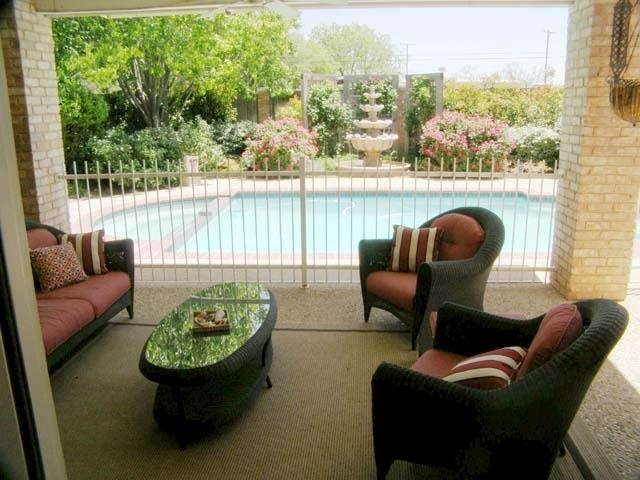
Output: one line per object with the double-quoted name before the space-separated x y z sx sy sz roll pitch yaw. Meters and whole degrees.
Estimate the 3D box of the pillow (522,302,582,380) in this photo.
"pillow" 1.032 0.427 2.244 0.119 0.294 0.302 17 -22 15

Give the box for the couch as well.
"couch" -1.638 0.415 3.476 0.501 0.535 0.999 6 17 1

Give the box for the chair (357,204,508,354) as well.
"chair" 0.888 0.261 4.094 1.072 0.956 1.060 -14 18 -41

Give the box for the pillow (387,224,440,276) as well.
"pillow" 0.761 0.094 4.054 0.374 0.362 0.141 4 -21 30

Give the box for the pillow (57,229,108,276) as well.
"pillow" -1.938 0.119 4.109 0.304 0.335 0.133 -13 -19 -15

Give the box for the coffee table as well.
"coffee table" -0.655 0.720 3.037 0.693 0.422 1.147 3 20 5
